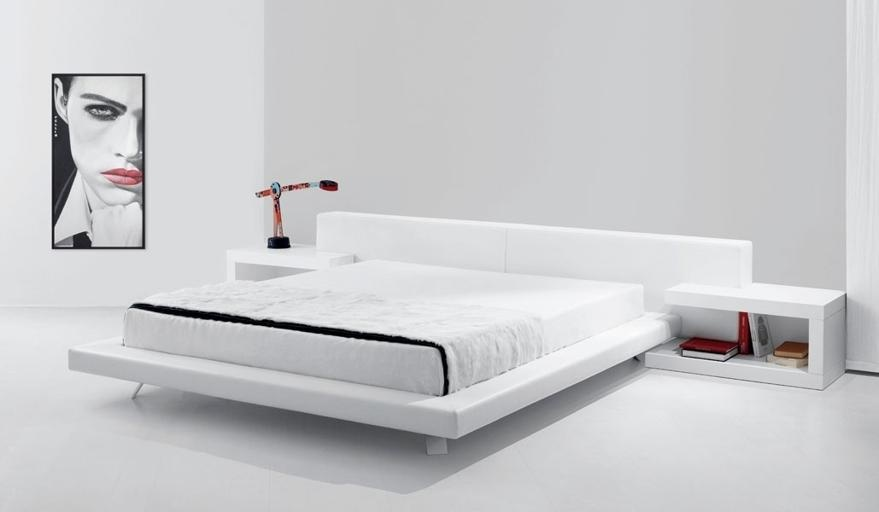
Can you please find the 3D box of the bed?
[{"bbox_3d":[-0.393,0.345,4.805,4.343,0.921,3.349,8,14,32],"label":"bed"}]
